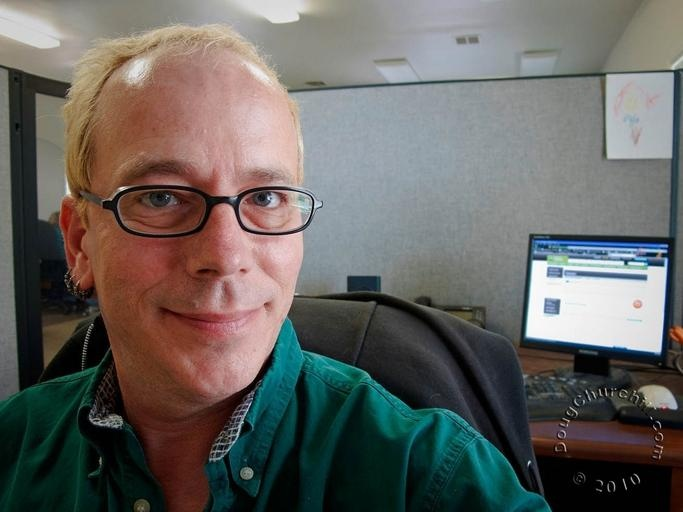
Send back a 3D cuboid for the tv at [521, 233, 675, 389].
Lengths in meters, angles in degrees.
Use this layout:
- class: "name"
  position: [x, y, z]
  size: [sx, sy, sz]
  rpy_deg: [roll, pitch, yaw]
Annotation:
- class: "tv"
  position: [0.870, 0.183, 1.869]
  size: [0.460, 0.490, 0.143]
  rpy_deg: [2, -9, 23]
